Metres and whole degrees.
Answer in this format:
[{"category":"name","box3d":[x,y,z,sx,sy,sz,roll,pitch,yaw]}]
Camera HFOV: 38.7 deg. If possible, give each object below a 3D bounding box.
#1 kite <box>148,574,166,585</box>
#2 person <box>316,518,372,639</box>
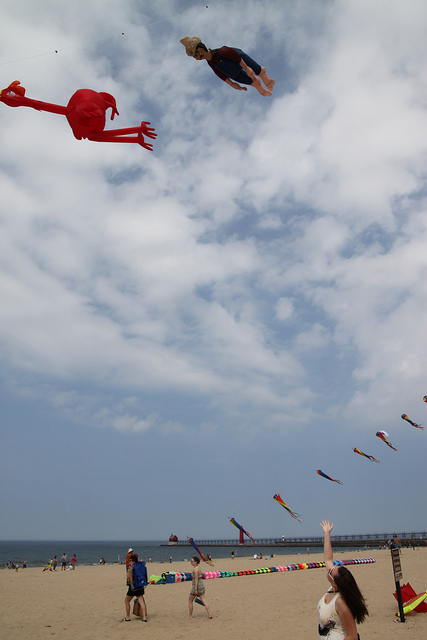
[{"category":"kite","box3d":[-1.908,8.936,20.824,0.559,0.237,0.557,3,-20,-6]},{"category":"person","box3d":[1.491,3.030,7.100,0.558,1.304,1.026,-3,-21,8]}]
